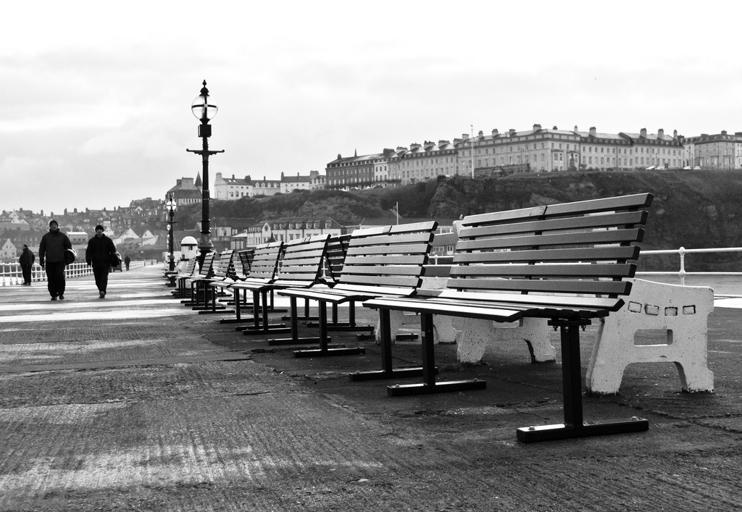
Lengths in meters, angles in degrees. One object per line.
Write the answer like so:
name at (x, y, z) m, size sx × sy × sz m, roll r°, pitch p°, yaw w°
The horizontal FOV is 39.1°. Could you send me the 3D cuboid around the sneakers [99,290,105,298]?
sneakers at (-5.882, 0.826, 22.902) m, size 0.108 × 0.113 × 0.293 m, roll 1°, pitch 0°, yaw -12°
